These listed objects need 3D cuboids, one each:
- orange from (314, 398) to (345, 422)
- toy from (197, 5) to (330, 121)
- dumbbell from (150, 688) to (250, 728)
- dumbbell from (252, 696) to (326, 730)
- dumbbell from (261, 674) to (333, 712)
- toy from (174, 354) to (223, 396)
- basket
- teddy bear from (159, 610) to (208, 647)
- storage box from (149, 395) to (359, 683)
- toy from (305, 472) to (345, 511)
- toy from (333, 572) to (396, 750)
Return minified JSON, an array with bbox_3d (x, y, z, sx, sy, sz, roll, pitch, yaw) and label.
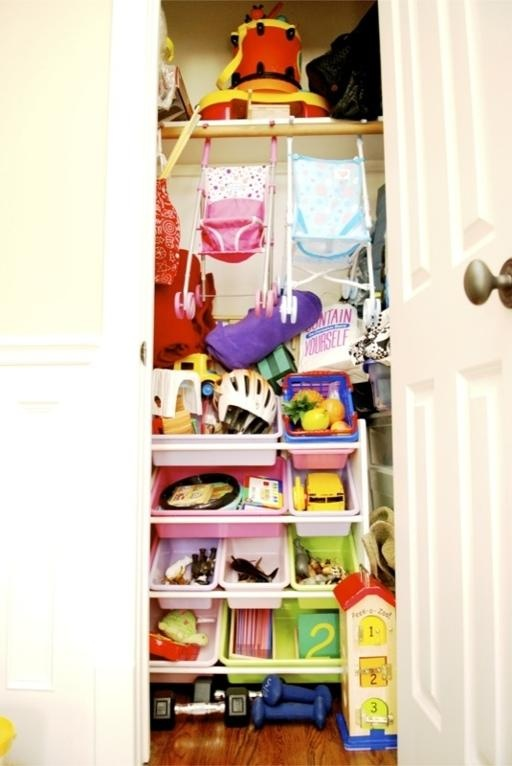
[{"bbox_3d":[0.199,0.069,1.673,0.057,0.063,0.061,10,17,1],"label":"orange"},{"bbox_3d":[0.042,-0.896,1.847,0.428,0.346,0.347,2,18,8],"label":"toy"},{"bbox_3d":[-0.130,0.758,1.500,0.241,0.086,0.089,-4,5,0],"label":"dumbbell"},{"bbox_3d":[0.074,0.770,1.486,0.172,0.064,0.068,-3,5,6],"label":"dumbbell"},{"bbox_3d":[0.094,0.737,1.522,0.079,0.038,0.036,11,9,-21],"label":"dumbbell"},{"bbox_3d":[-0.169,-0.024,1.876,0.131,0.135,0.098,0,-2,0],"label":"toy"},{"bbox_3d":[0.166,0.061,1.696,0.185,0.182,0.201,0,-2,-1],"label":"basket"},{"bbox_3d":[-0.182,0.607,1.591,0.105,0.038,0.083,23,19,9],"label":"teddy bear"},{"bbox_3d":[0.006,0.257,1.941,0.724,0.961,0.336,-1,-5,-4],"label":"storage box"},{"bbox_3d":[0.178,0.281,1.645,0.057,0.062,0.119,-1,1,0],"label":"toy"},{"bbox_3d":[0.246,0.615,1.460,0.146,0.345,0.125,-1,-3,-2],"label":"toy"}]
